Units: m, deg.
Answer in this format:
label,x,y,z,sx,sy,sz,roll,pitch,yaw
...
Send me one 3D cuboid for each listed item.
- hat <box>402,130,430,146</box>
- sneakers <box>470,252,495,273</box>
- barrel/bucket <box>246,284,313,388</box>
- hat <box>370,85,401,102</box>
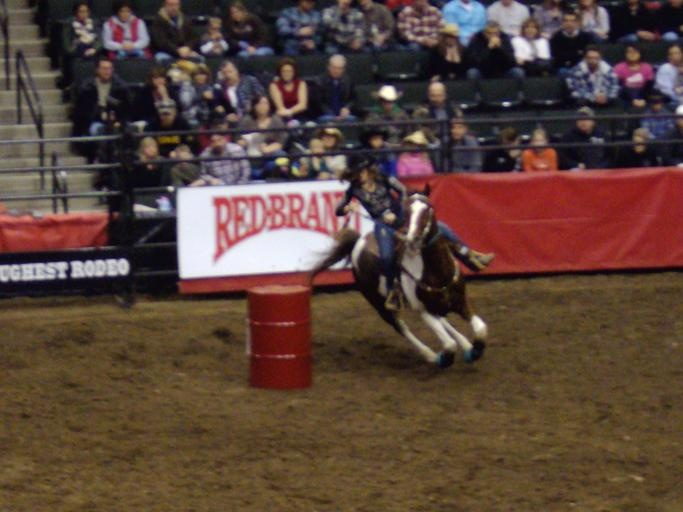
label,x,y,z,sx,sy,sz,roll,pitch,yaw
hat,1.111,-1.761,20.866,0.286,0.140,0.267,9,6,-3
sneakers,1.871,0.082,18.577,0.356,0.242,0.120,-37,8,-30
barrel/bucket,-0.774,1.018,16.865,0.787,1.190,0.433,-4,17,-4
hat,0.713,-2.611,22.348,0.490,0.195,0.510,3,3,0
